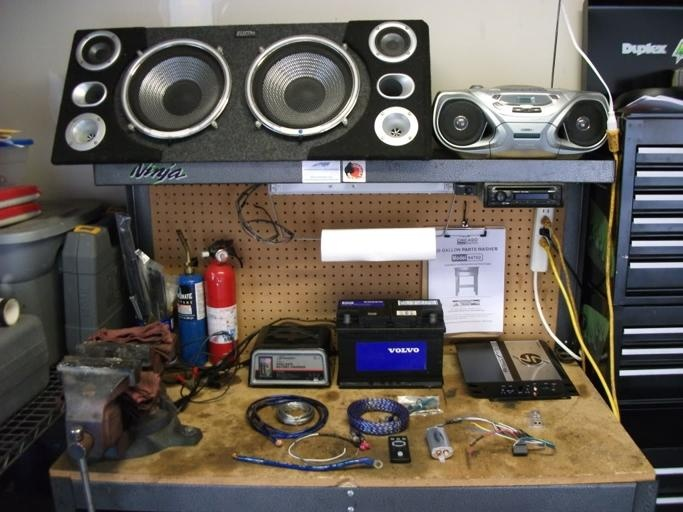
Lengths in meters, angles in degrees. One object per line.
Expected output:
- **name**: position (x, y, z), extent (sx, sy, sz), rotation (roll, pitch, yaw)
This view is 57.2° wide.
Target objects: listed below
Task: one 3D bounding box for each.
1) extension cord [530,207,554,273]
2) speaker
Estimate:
- **extension cord**: position (0.725, -0.054, 2.249), extent (0.083, 0.233, 0.051), rotation (-4, 8, -25)
- **speaker**: position (-0.308, -0.516, 1.961), extent (1.160, 0.438, 0.155), rotation (0, 7, 1)
